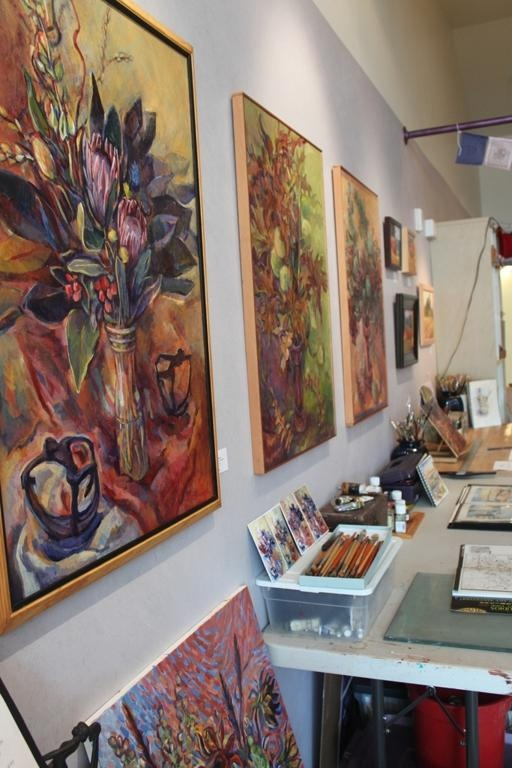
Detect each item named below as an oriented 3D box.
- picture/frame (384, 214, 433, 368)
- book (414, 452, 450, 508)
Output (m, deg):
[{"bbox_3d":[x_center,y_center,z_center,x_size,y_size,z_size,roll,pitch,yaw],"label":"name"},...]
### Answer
[{"bbox_3d":[1.257,-0.721,4.160,0.069,1.144,1.666,-3,1,27],"label":"picture/frame"},{"bbox_3d":[0.974,0.514,2.826,0.268,0.251,0.014,17,-10,-41],"label":"book"}]
